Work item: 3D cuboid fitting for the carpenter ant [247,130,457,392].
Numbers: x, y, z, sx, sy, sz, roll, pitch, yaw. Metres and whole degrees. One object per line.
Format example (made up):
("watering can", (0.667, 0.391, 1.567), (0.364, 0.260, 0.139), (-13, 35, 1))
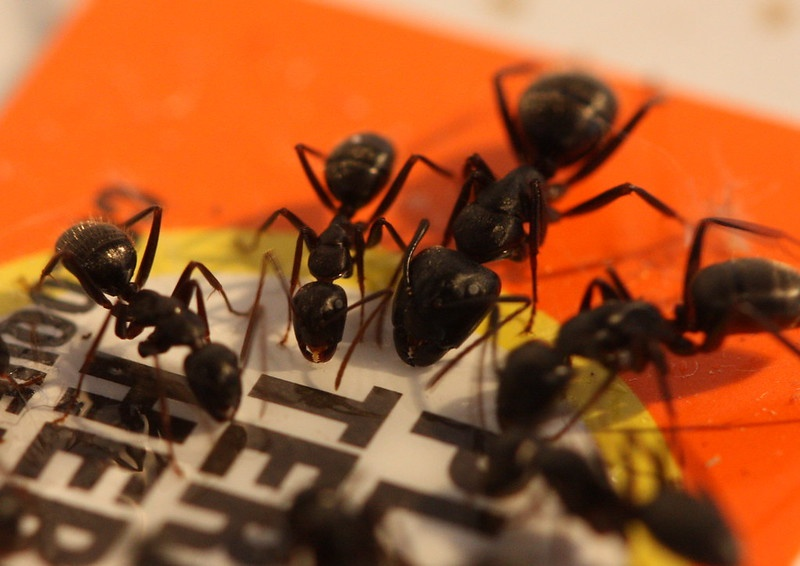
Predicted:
("carpenter ant", (-0.351, -0.046, 5.086), (0.997, 1.675, 1.093), (-2, 20, -9))

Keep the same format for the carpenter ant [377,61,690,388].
("carpenter ant", (0.967, -0.413, 5.336), (1.356, 1.823, 1.389), (-5, 3, 22))

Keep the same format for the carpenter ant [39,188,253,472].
("carpenter ant", (-1.437, 0.144, 4.741), (1.202, 0.630, 1.586), (-24, 57, -35))
